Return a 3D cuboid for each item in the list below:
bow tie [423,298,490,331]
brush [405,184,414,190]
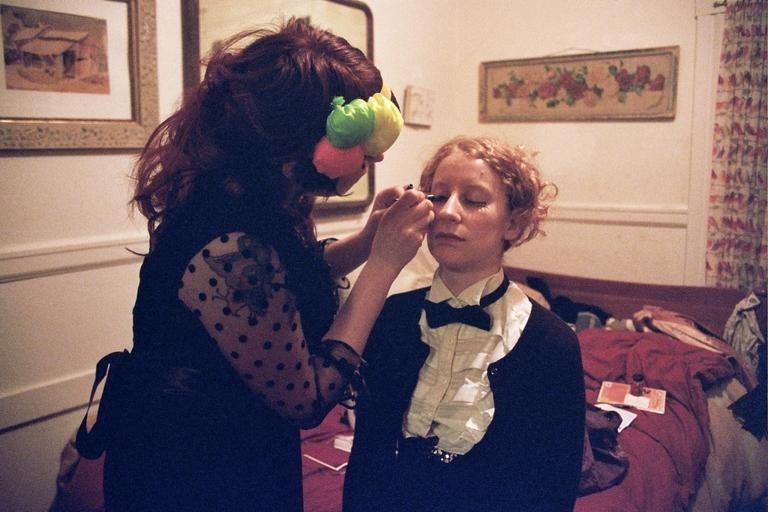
[{"bbox_3d":[0.227,0.179,1.725,0.160,0.089,0.141,2,9,1],"label":"bow tie"},{"bbox_3d":[0.074,-0.194,1.586,0.020,0.018,0.033,3,12,-2],"label":"brush"}]
